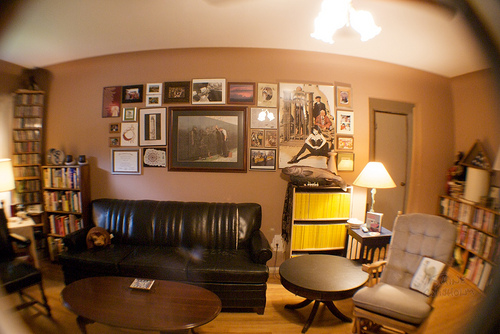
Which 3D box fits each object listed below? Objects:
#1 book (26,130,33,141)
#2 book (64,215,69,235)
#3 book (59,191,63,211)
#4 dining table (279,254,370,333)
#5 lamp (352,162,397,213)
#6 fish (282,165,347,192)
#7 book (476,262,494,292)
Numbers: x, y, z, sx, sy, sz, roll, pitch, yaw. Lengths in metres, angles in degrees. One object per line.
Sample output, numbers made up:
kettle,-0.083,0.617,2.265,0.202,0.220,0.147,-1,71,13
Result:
book,-0.881,-0.130,1.373,0.025,0.042,0.044,1,-1,-20
book,-1.632,0.512,3.067,0.029,0.110,0.106,-1,14,-16
book,-1.696,0.305,3.086,0.030,0.121,0.120,-1,4,-20
dining table,0.473,0.748,2.263,0.456,0.264,0.454,0,0,1
lamp,0.886,0.155,2.449,0.289,0.401,0.251,-11,18,-36
fish,0.518,0.088,2.783,0.525,0.194,0.162,1,5,6
book,0.765,0.355,1.122,0.029,0.082,0.087,17,-5,19
